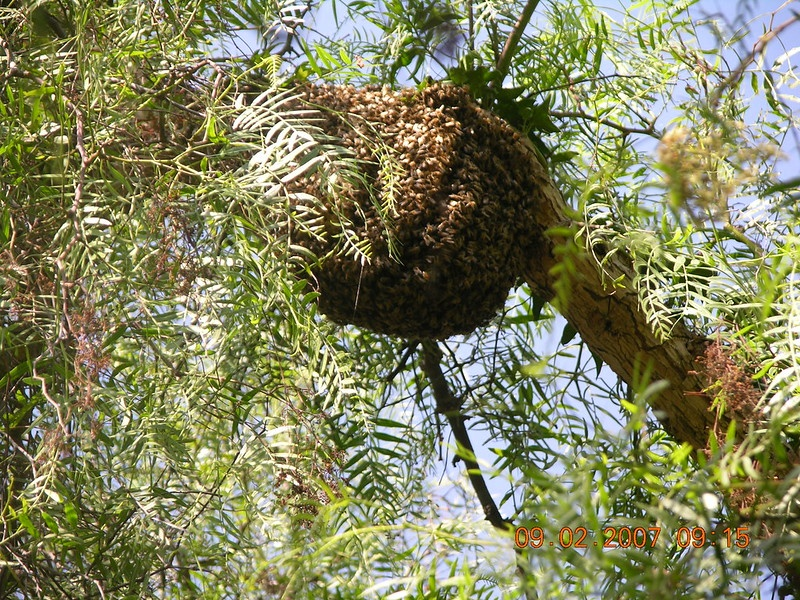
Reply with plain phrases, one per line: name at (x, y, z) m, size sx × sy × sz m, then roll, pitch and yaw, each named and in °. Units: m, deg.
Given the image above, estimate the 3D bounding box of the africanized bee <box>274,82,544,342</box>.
africanized bee at (0.062, -0.226, 3.833) m, size 0.745 × 0.746 × 0.501 m, roll -7°, pitch 23°, yaw -5°

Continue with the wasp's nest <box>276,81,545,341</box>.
wasp's nest at (-0.015, -0.243, 4.021) m, size 0.757 × 0.624 × 0.329 m, roll -55°, pitch 21°, yaw -19°
